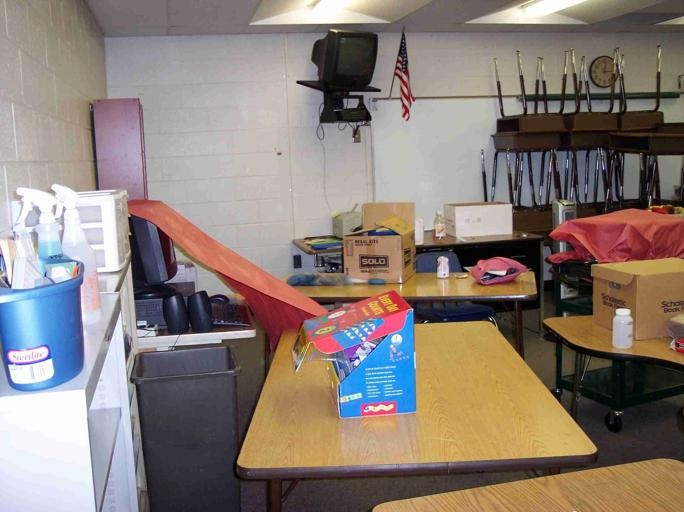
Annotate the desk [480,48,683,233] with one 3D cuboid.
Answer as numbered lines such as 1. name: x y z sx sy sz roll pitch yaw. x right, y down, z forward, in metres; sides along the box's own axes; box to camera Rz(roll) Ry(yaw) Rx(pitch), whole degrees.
1. desk: 2.437 -1.239 5.984 2.076 1.942 1.148 -1 13 3

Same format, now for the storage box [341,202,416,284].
1. storage box: 0.329 -0.095 4.039 0.458 0.548 0.597 -1 2 20

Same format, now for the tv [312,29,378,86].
1. tv: 0.019 -1.872 5.364 0.593 0.493 0.609 -2 23 -17

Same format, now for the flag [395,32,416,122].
1. flag: 0.639 -1.825 5.739 0.215 0.889 0.425 -1 15 5

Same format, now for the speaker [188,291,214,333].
1. speaker: -0.738 0.282 2.921 0.123 0.199 0.155 -6 15 -16

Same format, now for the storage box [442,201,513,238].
1. storage box: 1.313 -0.337 5.306 0.628 0.293 0.330 -1 14 -3

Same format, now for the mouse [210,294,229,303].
1. mouse: -0.725 0.255 3.334 0.081 0.028 0.057 0 8 0
